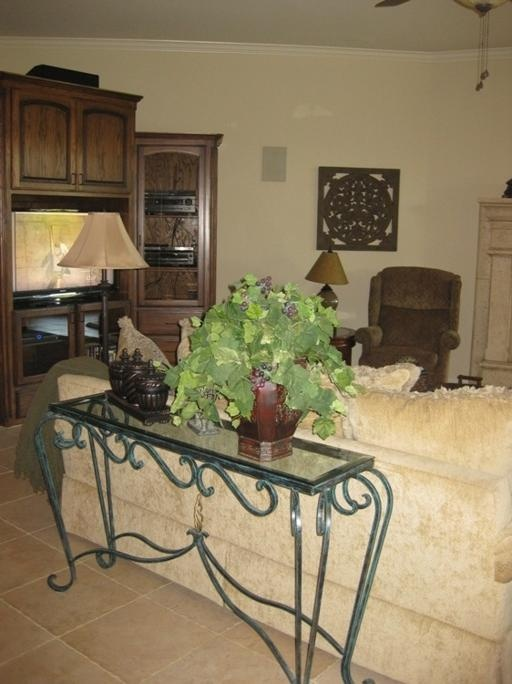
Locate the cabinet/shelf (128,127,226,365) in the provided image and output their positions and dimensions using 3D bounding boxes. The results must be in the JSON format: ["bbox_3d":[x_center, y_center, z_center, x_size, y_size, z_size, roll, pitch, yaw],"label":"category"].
[{"bbox_3d":[-0.753,-1.061,5.306,0.793,0.394,2.371,-4,-28,-9],"label":"cabinet/shelf"}]

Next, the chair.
[{"bbox_3d":[1.312,-0.058,5.089,0.894,1.063,0.737,4,11,24],"label":"chair"}]

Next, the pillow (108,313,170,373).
[{"bbox_3d":[-0.509,-0.008,2.677,0.320,0.219,0.201,20,20,15],"label":"pillow"}]

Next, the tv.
[{"bbox_3d":[-1.536,-0.681,4.555,0.085,0.628,0.940,11,13,32],"label":"tv"}]

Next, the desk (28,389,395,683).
[{"bbox_3d":[-0.112,0.599,1.775,0.796,0.452,0.231,13,23,37],"label":"desk"}]

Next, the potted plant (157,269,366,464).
[{"bbox_3d":[0.009,0.058,1.523,0.490,0.448,0.340,2,6,10],"label":"potted plant"}]

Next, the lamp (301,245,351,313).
[{"bbox_3d":[0.571,-0.475,4.759,0.347,0.504,0.345,15,18,38],"label":"lamp"}]
